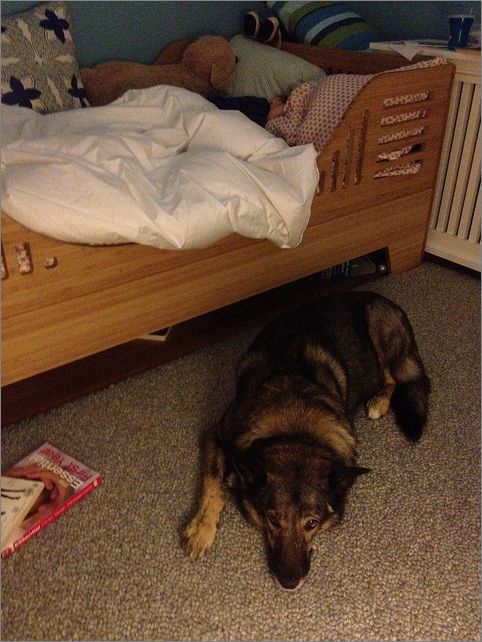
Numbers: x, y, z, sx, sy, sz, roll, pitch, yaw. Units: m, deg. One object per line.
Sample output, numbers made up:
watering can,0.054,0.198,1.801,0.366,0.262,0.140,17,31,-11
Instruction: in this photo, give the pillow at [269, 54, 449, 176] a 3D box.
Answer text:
pillow,0.397,-0.611,1.793,0.480,0.138,0.430,-18,35,6

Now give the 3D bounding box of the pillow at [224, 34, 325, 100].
pillow,0.132,-1.006,2.207,0.354,0.103,0.303,14,61,-3

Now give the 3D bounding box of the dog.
dog,0.148,0.173,1.177,0.389,0.213,0.745,12,49,16

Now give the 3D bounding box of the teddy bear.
teddy bear,-0.294,-1.057,2.228,0.722,0.284,0.283,-13,38,-17

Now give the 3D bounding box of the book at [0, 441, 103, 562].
book,-0.427,0.424,1.161,0.135,0.025,0.193,14,31,32
